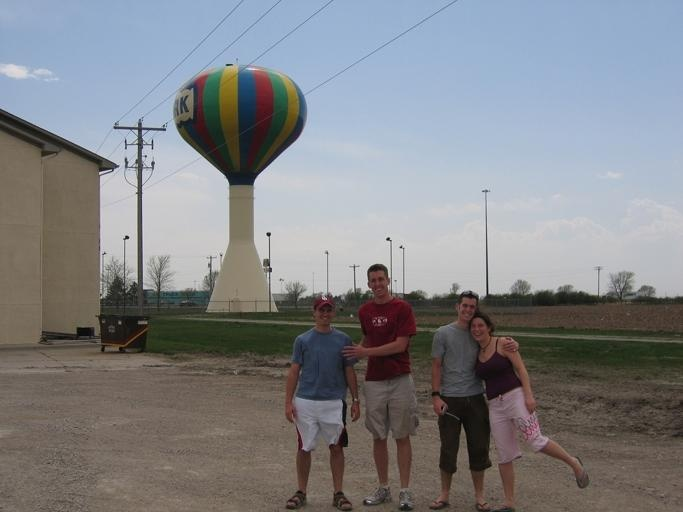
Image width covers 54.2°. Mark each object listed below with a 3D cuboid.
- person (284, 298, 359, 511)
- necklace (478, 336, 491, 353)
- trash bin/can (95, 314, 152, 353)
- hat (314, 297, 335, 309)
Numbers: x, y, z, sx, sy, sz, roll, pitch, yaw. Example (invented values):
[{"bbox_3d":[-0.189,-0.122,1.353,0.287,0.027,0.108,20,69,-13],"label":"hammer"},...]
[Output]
[{"bbox_3d":[-0.229,1.750,8.038,0.864,2.489,0.517,-1,-5,-2],"label":"person"},{"bbox_3d":[1.710,1.095,8.068,0.111,0.197,0.171,-3,-11,-2],"label":"necklace"},{"bbox_3d":[-8.126,2.909,24.992,1.321,1.290,1.862,4,-2,-44],"label":"trash bin/can"},{"bbox_3d":[-0.216,0.576,8.064,0.190,0.149,0.323,4,-10,-8],"label":"hat"}]
